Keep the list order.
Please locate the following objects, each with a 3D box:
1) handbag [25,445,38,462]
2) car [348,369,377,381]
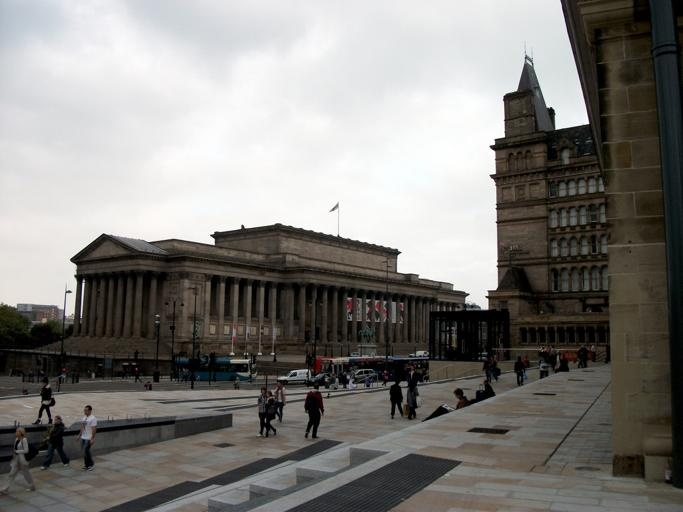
[{"bbox_3d":[-9.912,6.264,20.009,0.305,0.513,0.434,0,-10,-19],"label":"handbag"},{"bbox_3d":[2.283,11.583,61.343,2.765,1.304,1.563,9,-19,-18],"label":"car"}]
